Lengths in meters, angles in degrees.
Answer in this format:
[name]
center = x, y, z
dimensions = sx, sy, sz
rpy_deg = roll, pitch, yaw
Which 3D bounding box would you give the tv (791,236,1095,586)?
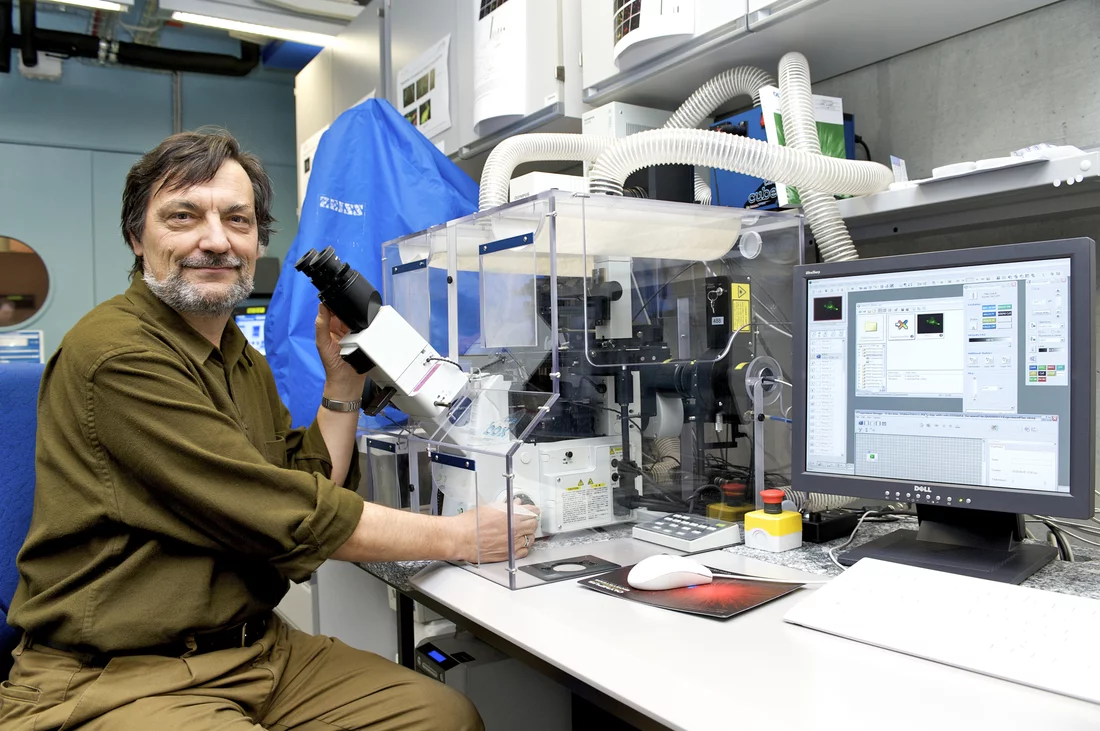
[tv]
center = 0.842, 0.063, 1.709
dimensions = 0.727, 0.631, 0.302
rpy_deg = 5, 4, 40

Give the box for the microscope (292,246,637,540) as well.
[microscope]
center = -0.285, 0.068, 2.139
dimensions = 0.839, 0.749, 0.674
rpy_deg = -2, 8, -23

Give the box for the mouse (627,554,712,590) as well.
[mouse]
center = 0.244, 0.415, 1.660
dimensions = 0.131, 0.037, 0.077
rpy_deg = -3, -2, -9
